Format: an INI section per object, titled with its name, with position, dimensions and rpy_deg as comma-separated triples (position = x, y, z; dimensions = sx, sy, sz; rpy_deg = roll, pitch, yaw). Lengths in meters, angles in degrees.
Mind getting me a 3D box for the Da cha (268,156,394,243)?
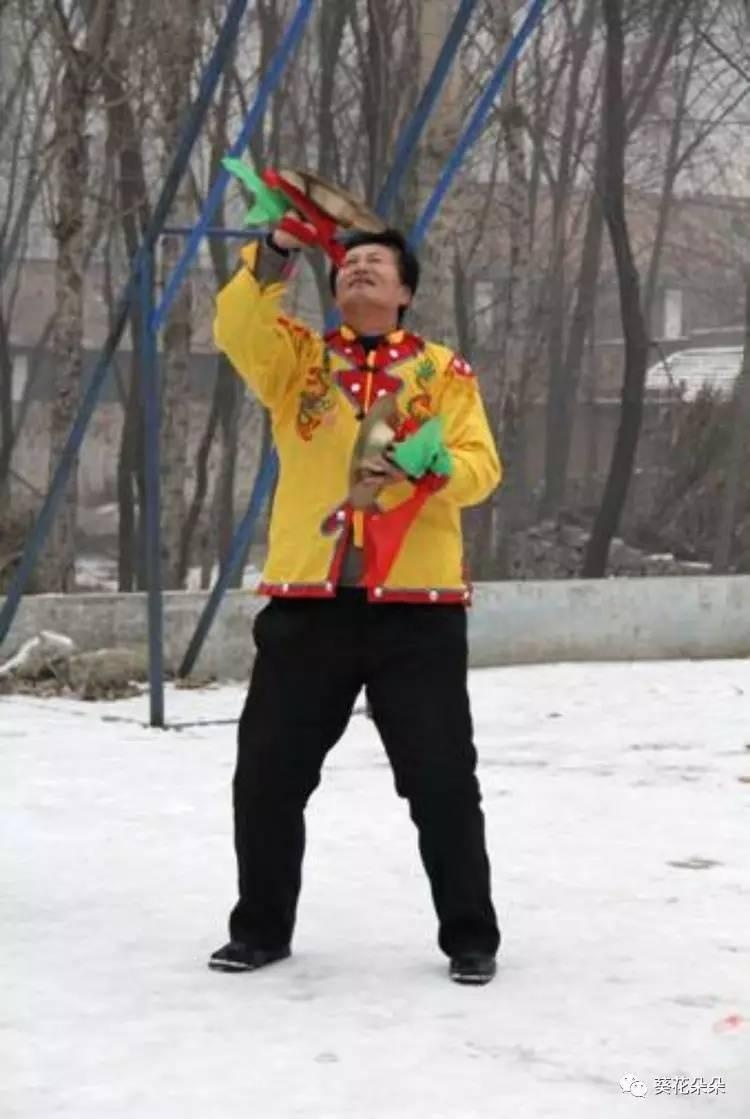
[Da cha]
position = -0.120, -0.793, 3.129
dimensions = 0.211, 0.050, 0.201
rpy_deg = 24, 4, -24
